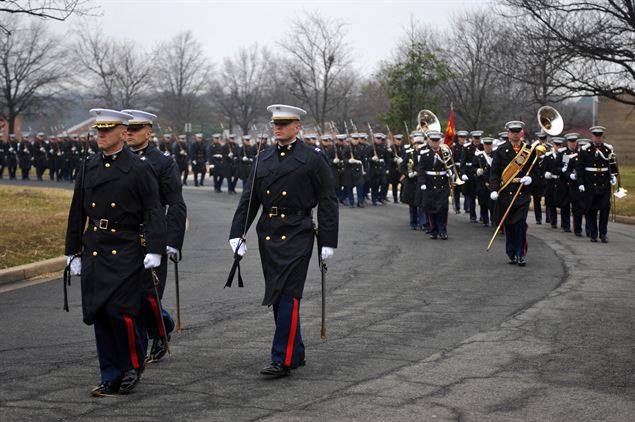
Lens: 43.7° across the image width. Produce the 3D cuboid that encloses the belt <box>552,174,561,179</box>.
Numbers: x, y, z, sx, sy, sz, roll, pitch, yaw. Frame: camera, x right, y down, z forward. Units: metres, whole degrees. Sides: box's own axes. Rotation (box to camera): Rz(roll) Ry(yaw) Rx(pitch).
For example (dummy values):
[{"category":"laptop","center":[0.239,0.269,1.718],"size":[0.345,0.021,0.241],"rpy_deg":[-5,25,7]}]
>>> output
[{"category":"belt","center":[5.856,-0.847,19.448],"size":[0.125,0.066,0.162],"rpy_deg":[1,-2,0]}]

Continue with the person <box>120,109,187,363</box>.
[{"category":"person","center":[-1.864,0.270,9.578],"size":[1.018,2.808,1.426],"rpy_deg":[1,-2,-19]}]
